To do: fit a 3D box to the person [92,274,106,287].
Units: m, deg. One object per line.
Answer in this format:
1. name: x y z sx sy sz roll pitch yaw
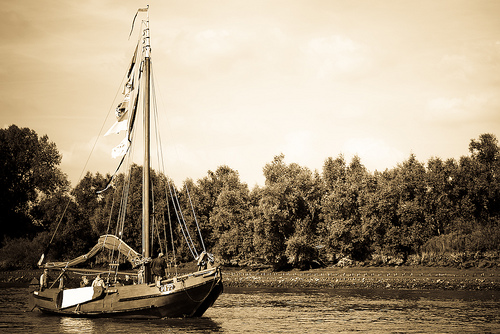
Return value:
1. person: -17.669 13.523 82.336 0.960 1.652 1.595 1 -17 -9
